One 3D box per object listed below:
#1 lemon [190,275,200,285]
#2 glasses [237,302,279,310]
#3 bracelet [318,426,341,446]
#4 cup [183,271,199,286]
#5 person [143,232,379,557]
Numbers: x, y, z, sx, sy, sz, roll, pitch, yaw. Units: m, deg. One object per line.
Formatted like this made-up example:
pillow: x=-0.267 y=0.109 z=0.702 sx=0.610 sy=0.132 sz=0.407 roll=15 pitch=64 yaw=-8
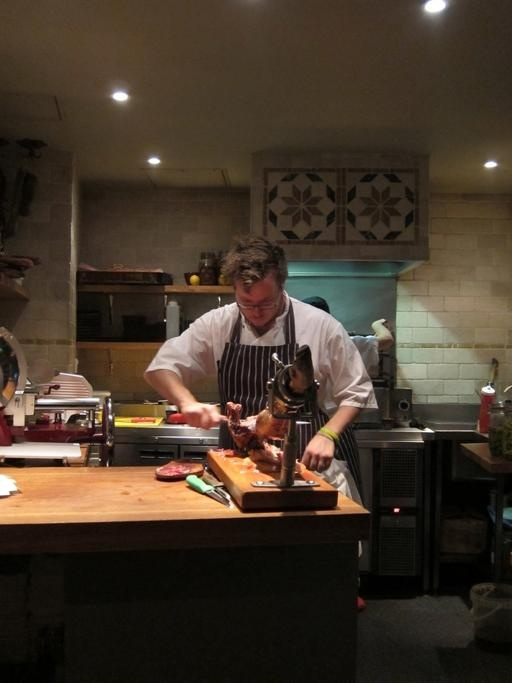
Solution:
lemon: x=-0.444 y=-0.446 z=4.464 sx=0.085 sy=0.083 sz=0.074 roll=1 pitch=15 yaw=4
glasses: x=0.005 y=-0.114 z=2.045 sx=0.122 sy=0.026 sz=0.058 roll=1 pitch=-2 yaw=2
bracelet: x=0.212 y=0.275 z=1.766 sx=0.046 sy=0.023 sz=0.049 roll=33 pitch=-6 yaw=-17
cup: x=-0.477 y=-0.453 z=4.509 sx=0.119 sy=0.079 sz=0.108 roll=1 pitch=-12 yaw=-3
person: x=0.035 y=0.240 z=2.191 sx=0.760 sy=1.099 sz=0.668 roll=-4 pitch=7 yaw=7
